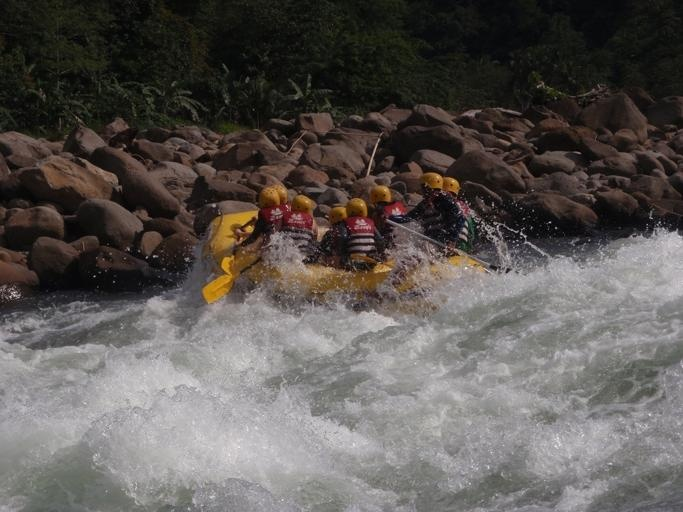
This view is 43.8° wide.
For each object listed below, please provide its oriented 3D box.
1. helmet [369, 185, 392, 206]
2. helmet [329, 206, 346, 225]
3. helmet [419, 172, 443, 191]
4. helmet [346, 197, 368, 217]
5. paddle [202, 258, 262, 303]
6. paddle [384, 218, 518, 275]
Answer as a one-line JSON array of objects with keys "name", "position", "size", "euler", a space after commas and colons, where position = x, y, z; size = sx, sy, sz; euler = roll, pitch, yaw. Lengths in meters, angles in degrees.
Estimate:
[{"name": "helmet", "position": [0.605, -0.950, 13.295], "size": [0.280, 0.329, 0.302], "euler": [1, 108, 0]}, {"name": "helmet", "position": [-0.053, -0.618, 12.876], "size": [0.224, 0.275, 0.249], "euler": [-16, 104, -7]}, {"name": "helmet", "position": [1.413, -1.150, 13.112], "size": [0.303, 0.231, 0.233], "euler": [32, 23, 22]}, {"name": "helmet", "position": [0.211, -0.734, 12.736], "size": [0.273, 0.265, 0.195], "euler": [0, 105, -4]}, {"name": "paddle", "position": [-1.696, 0.345, 12.712], "size": [0.394, 0.186, 1.366], "euler": [42, 42, 8]}, {"name": "paddle", "position": [1.652, -0.126, 13.257], "size": [2.182, 0.107, 0.451], "euler": [28, 100, 17]}]
